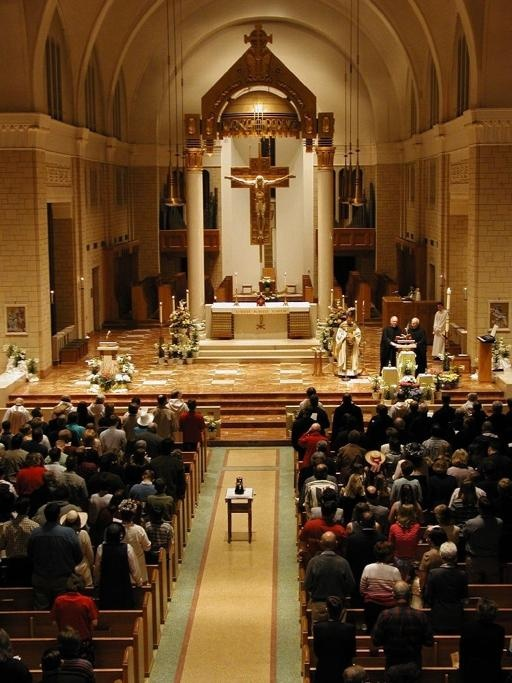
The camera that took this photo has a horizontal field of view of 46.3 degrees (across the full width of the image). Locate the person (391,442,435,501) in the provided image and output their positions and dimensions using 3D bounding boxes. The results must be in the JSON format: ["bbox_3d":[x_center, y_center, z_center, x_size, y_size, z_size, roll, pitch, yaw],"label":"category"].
[{"bbox_3d":[1.621,1.402,5.998,0.253,0.788,0.235,-7,16,0],"label":"person"}]

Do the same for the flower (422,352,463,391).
[{"bbox_3d":[4.669,0.832,14.349,1.033,0.548,1.087,-7,17,-7],"label":"flower"}]

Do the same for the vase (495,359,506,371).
[{"bbox_3d":[6.198,0.599,15.149,0.264,0.313,0.270,0,1,-8],"label":"vase"}]

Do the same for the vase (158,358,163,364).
[{"bbox_3d":[-2.743,0.551,17.351,0.139,0.154,0.101,-3,4,-4],"label":"vase"}]

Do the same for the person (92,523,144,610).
[{"bbox_3d":[-1.051,1.754,4.552,0.298,0.864,0.235,7,19,0],"label":"person"}]

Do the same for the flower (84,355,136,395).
[{"bbox_3d":[-3.534,0.781,14.607,0.828,0.381,1.071,-2,19,-5],"label":"flower"}]

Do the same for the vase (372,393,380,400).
[{"bbox_3d":[2.788,1.259,13.779,0.133,0.136,0.136,0,-2,5],"label":"vase"}]

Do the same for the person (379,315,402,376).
[{"bbox_3d":[3.212,0.022,14.250,0.485,1.240,1.234,-2,4,12],"label":"person"}]

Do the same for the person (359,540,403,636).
[{"bbox_3d":[0.818,1.734,4.057,0.232,0.811,0.236,5,7,1],"label":"person"}]

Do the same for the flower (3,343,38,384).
[{"bbox_3d":[-6.119,0.561,15.446,0.929,0.955,0.627,-2,4,14],"label":"flower"}]

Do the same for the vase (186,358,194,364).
[{"bbox_3d":[-1.926,0.555,17.395,0.145,0.119,0.135,1,2,0],"label":"vase"}]

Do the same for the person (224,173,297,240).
[{"bbox_3d":[0.143,-4.220,18.982,1.513,2.189,0.704,-3,4,-2],"label":"person"}]

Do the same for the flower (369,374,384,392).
[{"bbox_3d":[2.816,0.968,13.775,0.334,0.461,0.356,-2,3,0],"label":"flower"}]

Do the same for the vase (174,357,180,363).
[{"bbox_3d":[-2.292,0.521,17.378,0.137,0.141,0.129,2,-3,-4],"label":"vase"}]

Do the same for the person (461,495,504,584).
[{"bbox_3d":[1.761,1.534,4.636,0.307,0.756,0.294,-2,4,13],"label":"person"}]

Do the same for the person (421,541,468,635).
[{"bbox_3d":[1.263,1.728,4.012,0.255,0.849,0.250,-4,14,-3],"label":"person"}]

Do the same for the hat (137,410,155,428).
[{"bbox_3d":[-1.522,1.051,8.232,0.221,0.092,0.259,-2,38,0],"label":"hat"}]

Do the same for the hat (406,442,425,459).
[{"bbox_3d":[1.583,1.069,5.915,0.169,0.149,0.174,2,0,4],"label":"hat"}]

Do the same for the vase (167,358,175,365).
[{"bbox_3d":[-2.459,0.566,17.374,0.164,0.123,0.153,0,3,9],"label":"vase"}]

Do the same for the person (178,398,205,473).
[{"bbox_3d":[-1.061,1.406,9.777,0.371,1.150,0.334,0,32,-10],"label":"person"}]

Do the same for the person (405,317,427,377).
[{"bbox_3d":[3.862,0.186,14.304,0.387,1.148,0.728,-1,4,19],"label":"person"}]
